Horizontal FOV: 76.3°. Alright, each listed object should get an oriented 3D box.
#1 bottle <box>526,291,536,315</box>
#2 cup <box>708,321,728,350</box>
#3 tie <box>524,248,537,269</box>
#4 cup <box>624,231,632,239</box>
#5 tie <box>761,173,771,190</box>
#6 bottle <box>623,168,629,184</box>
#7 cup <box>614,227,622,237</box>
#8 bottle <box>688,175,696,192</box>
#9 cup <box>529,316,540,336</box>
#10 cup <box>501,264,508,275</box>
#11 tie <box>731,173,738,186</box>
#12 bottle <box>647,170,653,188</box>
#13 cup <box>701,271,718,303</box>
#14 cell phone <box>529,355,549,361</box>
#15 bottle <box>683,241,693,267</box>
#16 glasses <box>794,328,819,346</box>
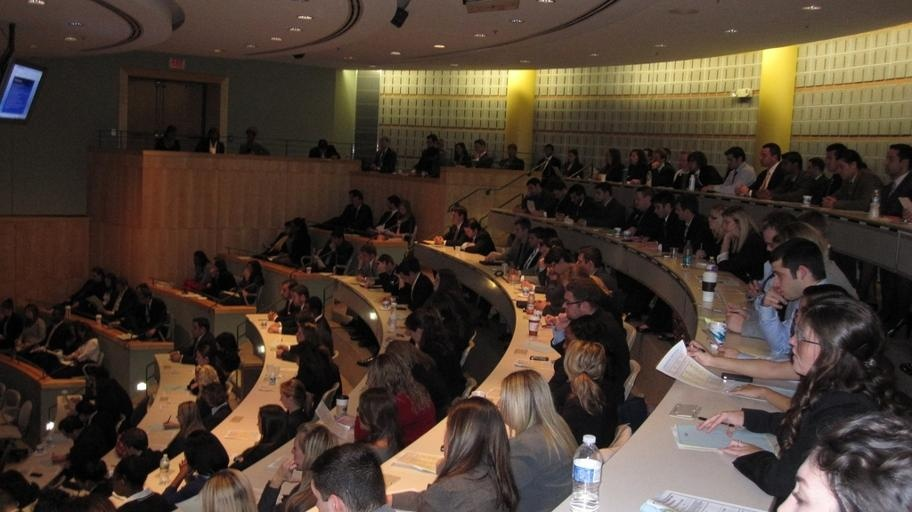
[{"bbox_3d":[1.085,0.671,8.393,0.116,0.325,0.260,0,10,7],"label":"bottle"},{"bbox_3d":[2.513,0.748,5.590,0.141,0.233,0.300,4,11,23],"label":"cup"},{"bbox_3d":[1.401,0.062,10.818,0.131,0.327,0.240,40,-6,-24],"label":"tie"},{"bbox_3d":[2.994,-0.370,10.275,0.122,0.156,0.162,0,-4,-1],"label":"cup"},{"bbox_3d":[5.513,-1.353,10.370,0.147,0.285,0.285,4,11,27],"label":"tie"},{"bbox_3d":[3.921,-1.871,13.464,0.095,0.249,0.452,2,11,14],"label":"bottle"},{"bbox_3d":[2.950,-0.420,10.530,0.138,0.158,0.172,1,-4,2],"label":"cup"},{"bbox_3d":[4.698,-1.473,11.577,0.130,0.254,0.439,3,11,22],"label":"bottle"},{"bbox_3d":[1.030,0.914,7.725,0.143,0.243,0.232,0,10,7],"label":"cup"},{"bbox_3d":[0.858,0.225,10.277,0.107,0.178,0.328,-1,10,-1],"label":"cup"},{"bbox_3d":[5.200,-1.457,10.802,0.093,0.179,0.122,-7,12,-29],"label":"tie"},{"bbox_3d":[4.204,-1.718,12.650,0.119,0.291,0.355,2,11,13],"label":"bottle"},{"bbox_3d":[2.913,0.345,6.700,0.130,0.336,0.277,3,11,21],"label":"cup"},{"bbox_3d":[0.994,1.225,6.996,0.233,0.018,0.155,0,11,6],"label":"cell phone"},{"bbox_3d":[3.259,-0.008,8.190,0.095,0.290,0.237,5,12,29],"label":"bottle"},{"bbox_3d":[2.449,0.567,4.088,0.043,0.110,0.201,-4,11,-19],"label":"glasses"}]
